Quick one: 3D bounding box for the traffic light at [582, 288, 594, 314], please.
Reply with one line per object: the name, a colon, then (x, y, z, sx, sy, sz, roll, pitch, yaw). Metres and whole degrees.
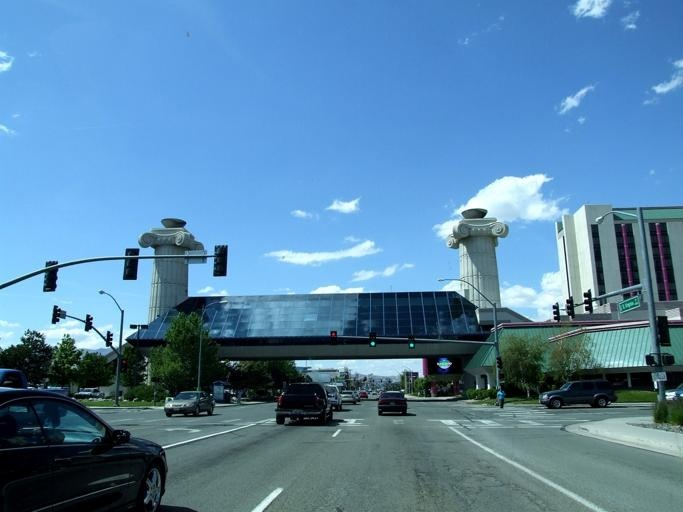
traffic light: (13.094, 2.389, 28.652, 0.439, 1.206, 2.319, -10, -12, 22)

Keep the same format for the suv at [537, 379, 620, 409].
suv: (16.603, 9.606, 37.767, 4.720, 1.696, 2.093, 2, -12, 5)

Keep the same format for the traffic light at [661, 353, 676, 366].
traffic light: (12.804, 4.087, 21.144, 0.349, 0.410, 1.214, -10, -12, 24)

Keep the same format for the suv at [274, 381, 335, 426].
suv: (-1.741, 6.664, 24.049, 2.235, 1.902, 1.256, -1, -12, -15)

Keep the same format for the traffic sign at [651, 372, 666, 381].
traffic sign: (12.939, 4.954, 21.969, 0.453, 0.397, 0.544, -9, -12, 22)
